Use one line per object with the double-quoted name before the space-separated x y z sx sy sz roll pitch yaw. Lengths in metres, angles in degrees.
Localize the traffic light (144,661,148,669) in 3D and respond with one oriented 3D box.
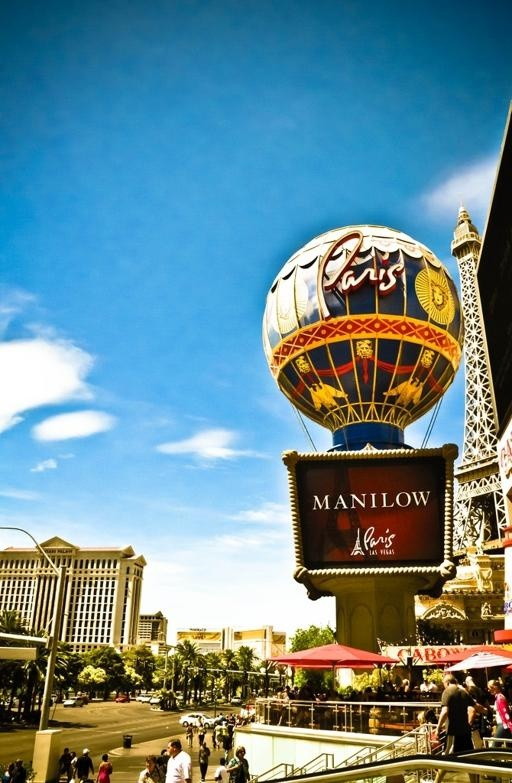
"traffic light" -16.046 39.739 109.030 0.403 0.939 0.837 -8 -21 18
